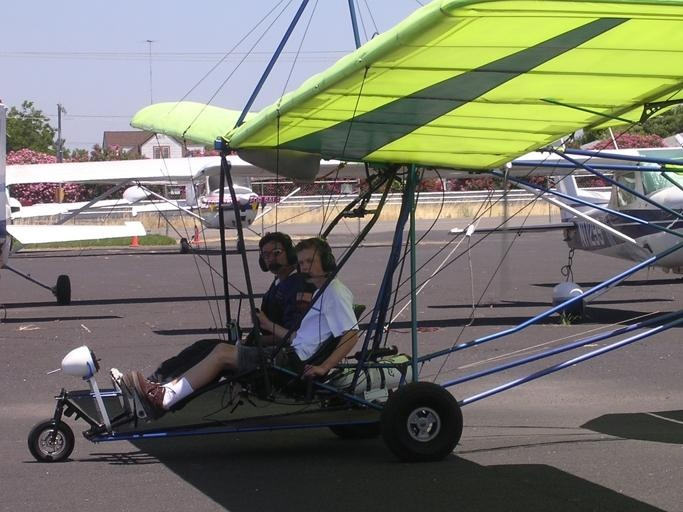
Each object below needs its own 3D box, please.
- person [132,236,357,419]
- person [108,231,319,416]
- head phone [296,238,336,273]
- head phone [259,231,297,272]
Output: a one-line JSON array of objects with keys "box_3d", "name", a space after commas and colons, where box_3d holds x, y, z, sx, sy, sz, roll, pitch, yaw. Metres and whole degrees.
[{"box_3d": [-0.767, 0.516, 6.723, 1.872, 1.032, 0.814, -10, 1, -15], "name": "person"}, {"box_3d": [-0.946, 0.484, 6.780, 1.663, 1.028, 0.763, -19, 18, -27], "name": "person"}, {"box_3d": [-0.213, 0.001, 6.876, 0.358, 0.270, 0.122, -16, 7, -21], "name": "head phone"}, {"box_3d": [-0.521, -0.054, 7.216, 0.405, 0.308, 0.140, -11, 22, -21], "name": "head phone"}]
